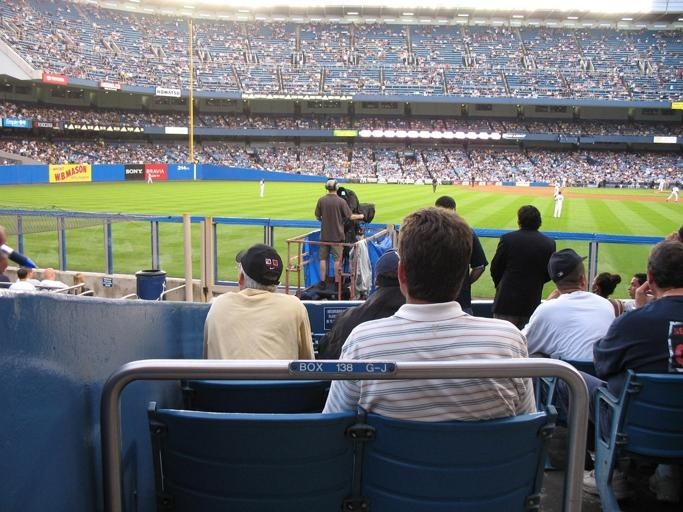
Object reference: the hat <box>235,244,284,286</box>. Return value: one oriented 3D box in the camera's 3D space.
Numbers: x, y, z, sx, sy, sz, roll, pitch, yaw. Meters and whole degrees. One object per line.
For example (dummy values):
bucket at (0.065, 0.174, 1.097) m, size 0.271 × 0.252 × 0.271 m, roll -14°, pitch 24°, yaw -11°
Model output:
hat at (-0.527, 0.043, 5.486) m, size 0.218 × 0.162 × 0.317 m, roll -5°, pitch 25°, yaw -26°

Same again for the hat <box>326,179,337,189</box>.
hat at (-0.130, -0.914, 10.731) m, size 0.138 × 0.125 × 0.140 m, roll 1°, pitch 22°, yaw 11°

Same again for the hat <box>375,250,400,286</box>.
hat at (0.339, 0.105, 5.939) m, size 0.167 × 0.132 × 0.237 m, roll 3°, pitch 20°, yaw 6°

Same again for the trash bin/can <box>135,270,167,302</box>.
trash bin/can at (-2.606, 0.415, 11.422) m, size 0.437 × 0.421 × 0.424 m, roll 1°, pitch 3°, yaw 11°
